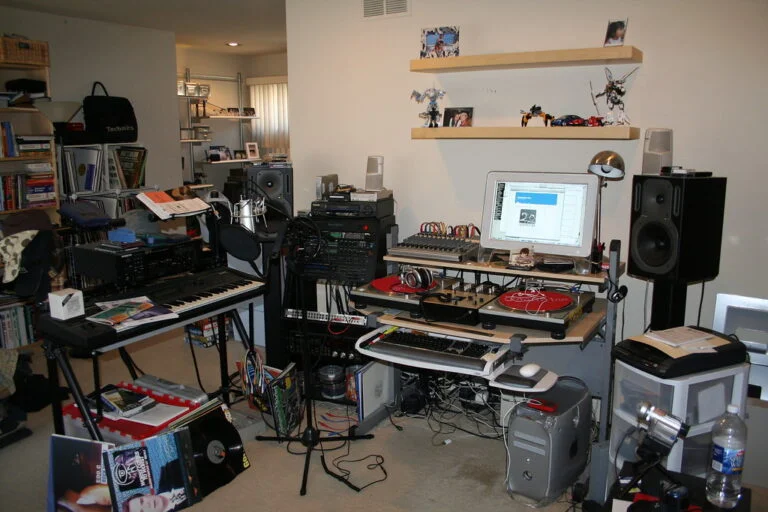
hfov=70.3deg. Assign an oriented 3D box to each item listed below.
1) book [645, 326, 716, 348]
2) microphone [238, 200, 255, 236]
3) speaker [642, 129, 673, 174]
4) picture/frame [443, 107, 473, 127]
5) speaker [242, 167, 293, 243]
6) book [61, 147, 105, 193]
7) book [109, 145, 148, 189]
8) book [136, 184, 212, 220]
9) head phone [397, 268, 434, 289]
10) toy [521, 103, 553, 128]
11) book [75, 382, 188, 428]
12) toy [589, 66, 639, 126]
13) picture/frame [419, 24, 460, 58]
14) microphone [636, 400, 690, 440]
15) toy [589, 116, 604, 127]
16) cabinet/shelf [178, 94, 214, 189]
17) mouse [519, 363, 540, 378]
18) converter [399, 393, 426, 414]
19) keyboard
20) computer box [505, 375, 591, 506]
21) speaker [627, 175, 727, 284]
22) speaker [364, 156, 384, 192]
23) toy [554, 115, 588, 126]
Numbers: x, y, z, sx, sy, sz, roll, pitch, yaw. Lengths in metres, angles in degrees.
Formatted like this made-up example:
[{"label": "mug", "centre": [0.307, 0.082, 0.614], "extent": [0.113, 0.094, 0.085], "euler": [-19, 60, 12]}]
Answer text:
[{"label": "book", "centre": [1.755, 0.482, 3.238], "extent": [0.389, 0.044, 0.197], "euler": [-4, 13, -21]}, {"label": "microphone", "centre": [-1.025, -0.287, 4.042], "extent": [0.149, 0.226, 0.116], "euler": [2, 12, 5]}, {"label": "speaker", "centre": [1.771, -0.666, 3.517], "extent": [0.169, 0.288, 0.226], "euler": [6, 13, 26]}, {"label": "picture/frame", "centre": [0.578, -1.060, 4.205], "extent": [0.176, 0.170, 0.019], "euler": [5, 4, 19]}, {"label": "speaker", "centre": [-0.895, -0.425, 4.286], "extent": [0.356, 0.529, 0.914], "euler": [-3, 13, -14]}, {"label": "book", "centre": [-3.385, -0.966, 6.166], "extent": [0.494, 0.463, 0.120], "euler": [-6, -3, 3]}, {"label": "book", "centre": [-3.008, -1.037, 6.430], "extent": [0.467, 0.457, 0.113], "euler": [-1, 6, 21]}, {"label": "book", "centre": [-1.357, -0.317, 3.499], "extent": [0.279, 0.088, 0.274], "euler": [-7, 24, -43]}, {"label": "head phone", "centre": [0.211, 0.142, 3.633], "extent": [0.177, 0.085, 0.133], "euler": [8, 12, 37]}, {"label": "toy", "centre": [1.143, -1.029, 3.983], "extent": [0.302, 0.183, 0.132], "euler": [0, 12, 8]}, {"label": "book", "centre": [-1.592, 0.984, 3.510], "extent": [0.448, 0.071, 0.262], "euler": [10, 17, 24]}, {"label": "toy", "centre": [1.586, -1.111, 3.793], "extent": [0.312, 0.401, 0.267], "euler": [5, 13, 22]}, {"label": "picture/frame", "centre": [0.431, -1.603, 4.101], "extent": [0.353, 0.325, 0.037], "euler": [4, 4, 19]}, {"label": "microphone", "centre": [1.303, 0.798, 2.597], "extent": [0.226, 0.090, 0.161], "euler": [21, 31, 31]}, {"label": "toy", "centre": [1.477, -0.925, 3.790], "extent": [0.113, 0.073, 0.251], "euler": [5, 13, 20]}, {"label": "cabinet/shelf", "centre": [-3.058, -1.851, 8.919], "extent": [0.470, 1.357, 0.969], "euler": [-3, 13, -18]}, {"label": "mouse", "centre": [0.883, 0.698, 3.281], "extent": [0.124, 0.073, 0.106], "euler": [2, 12, 6]}, {"label": "converter", "centre": [0.223, 1.120, 4.186], "extent": [0.116, 0.075, 0.159], "euler": [8, 15, 27]}, {"label": "keyboard", "centre": [0.315, 0.571, 3.379], "extent": [0.892, 0.118, 0.317], "euler": [5, 13, 17]}, {"label": "computer box", "centre": [0.995, 1.132, 3.611], "extent": [0.485, 0.752, 0.826], "euler": [3, 5, 43]}, {"label": "speaker", "centre": [1.880, -0.167, 3.426], "extent": [0.571, 0.663, 0.271], "euler": [0, 12, -5]}, {"label": "speaker", "centre": [-0.073, -0.640, 4.273], "extent": [0.128, 0.249, 0.228], "euler": [0, 12, -4]}, {"label": "toy", "centre": [1.289, -0.935, 3.794], "extent": [0.157, 0.052, 0.097], "euler": [8, 25, 13]}]
